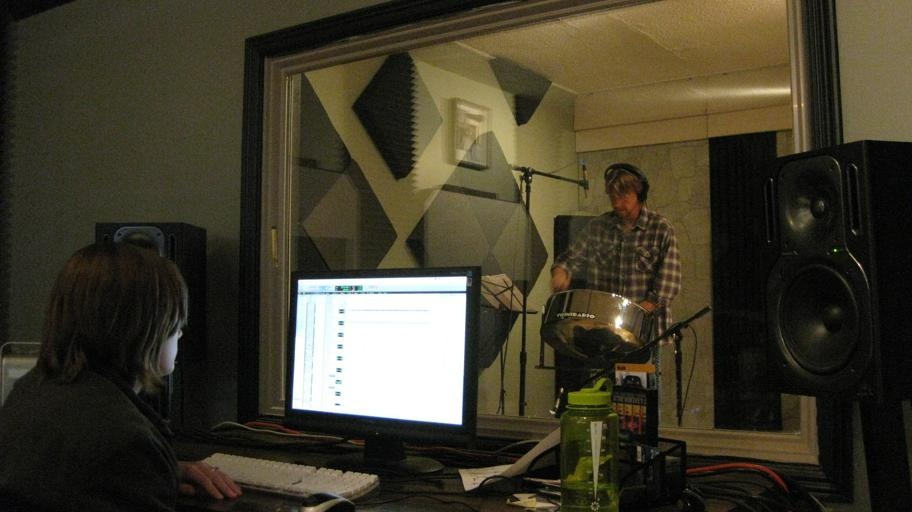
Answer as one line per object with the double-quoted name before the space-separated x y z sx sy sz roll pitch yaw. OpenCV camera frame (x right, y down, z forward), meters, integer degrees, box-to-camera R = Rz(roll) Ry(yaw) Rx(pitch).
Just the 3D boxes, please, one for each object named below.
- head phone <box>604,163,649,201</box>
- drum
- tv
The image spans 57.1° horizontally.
"head phone" 0.639 -0.286 3.126 0.133 0.146 0.062 0 22 31
"drum" 0.530 0.272 3.127 0.418 0.282 0.099 2 -6 9
"tv" -0.257 0.411 3.059 0.749 0.626 0.271 -1 -9 20
